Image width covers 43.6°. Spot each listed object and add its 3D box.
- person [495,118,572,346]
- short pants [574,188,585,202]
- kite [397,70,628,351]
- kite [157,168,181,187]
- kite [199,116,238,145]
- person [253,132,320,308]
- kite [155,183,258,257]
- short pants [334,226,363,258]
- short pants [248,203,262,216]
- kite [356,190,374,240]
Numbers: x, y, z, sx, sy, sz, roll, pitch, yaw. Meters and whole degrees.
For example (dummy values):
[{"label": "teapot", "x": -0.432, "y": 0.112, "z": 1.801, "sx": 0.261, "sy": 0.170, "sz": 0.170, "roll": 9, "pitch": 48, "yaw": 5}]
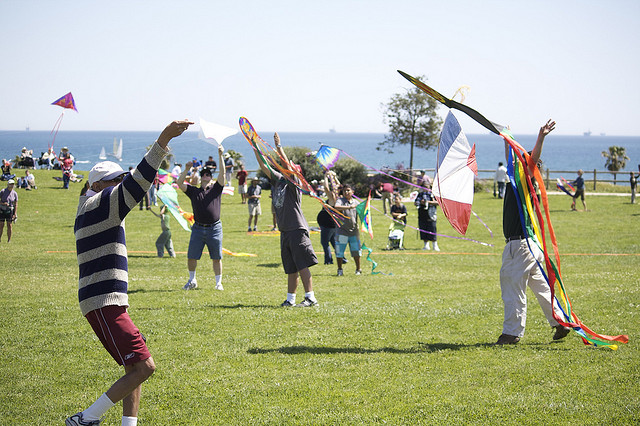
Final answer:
[{"label": "person", "x": 4.011, "y": 0.358, "z": 14.597, "sx": 1.166, "sy": 3.956, "sz": 1.136, "roll": 3, "pitch": 14, "yaw": 12}, {"label": "short pants", "x": 11.926, "y": -0.836, "z": 35.162, "sx": 0.569, "sy": 0.538, "sz": 0.217, "roll": 4, "pitch": 12, "yaw": -4}, {"label": "kite", "x": 4.079, "y": 0.105, "z": 14.744, "sx": 3.824, "sy": 4.444, "sz": 0.930, "roll": 5, "pitch": 14, "yaw": 21}, {"label": "kite", "x": -4.831, "y": -1.058, "z": 23.375, "sx": 0.173, "sy": 0.725, "sz": 0.988, "roll": -20, "pitch": -14, "yaw": 32}, {"label": "kite", "x": -2.684, "y": -1.968, "z": 19.068, "sx": 0.719, "sy": 0.501, "sz": 1.439, "roll": -5, "pitch": 15, "yaw": -18}, {"label": "person", "x": -0.706, "y": 0.261, "z": 16.717, "sx": 0.824, "sy": 3.567, "sz": 1.318, "roll": -9, "pitch": 16, "yaw": -32}, {"label": "kite", "x": -3.680, "y": 0.246, "z": 23.468, "sx": 3.046, "sy": 0.512, "sz": 0.920, "roll": 33, "pitch": 13, "yaw": -25}, {"label": "short pants", "x": 0.678, "y": 0.651, "z": 20.659, "sx": 0.786, "sy": 1.010, "sz": 0.377, "roll": -1, "pitch": 23, "yaw": -3}, {"label": "short pants", "x": -2.552, "y": -0.154, "z": 28.598, "sx": 0.645, "sy": 0.624, "sz": 0.355, "roll": 0, "pitch": -3, "yaw": -24}, {"label": "kite", "x": 1.217, "y": 0.025, "z": 22.605, "sx": 0.534, "sy": 1.557, "sz": 0.125, "roll": -7, "pitch": -34, "yaw": 1}]
